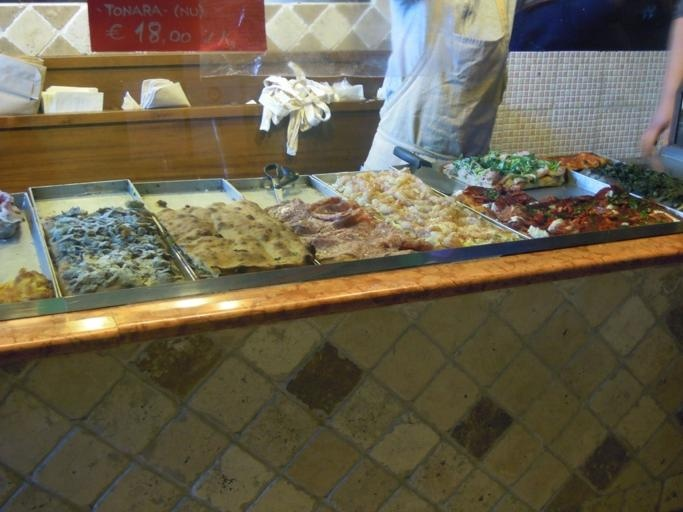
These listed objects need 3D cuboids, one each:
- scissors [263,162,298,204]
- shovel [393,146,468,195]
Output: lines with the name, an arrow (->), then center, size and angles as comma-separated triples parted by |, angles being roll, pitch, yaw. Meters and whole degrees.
scissors -> -0.160, -0.187, 1.279 | 0.067, 0.114, 0.074 | 25, 18, 22
shovel -> 0.246, -0.246, 1.488 | 0.214, 0.069, 0.111 | 28, 72, -7
